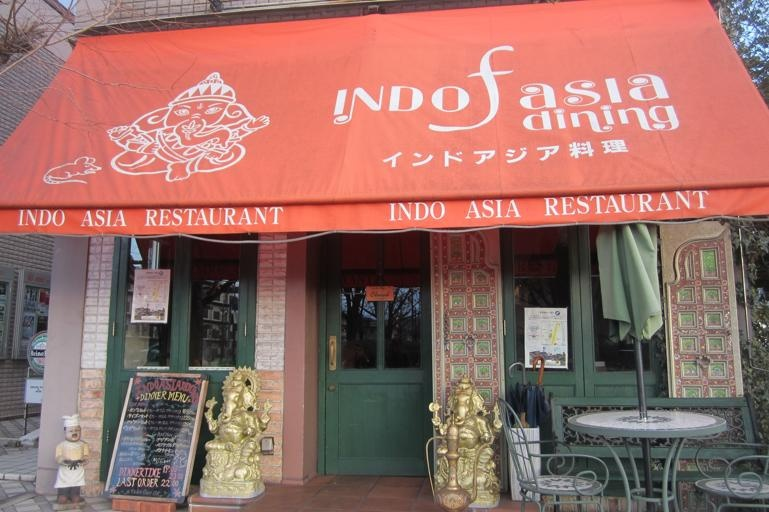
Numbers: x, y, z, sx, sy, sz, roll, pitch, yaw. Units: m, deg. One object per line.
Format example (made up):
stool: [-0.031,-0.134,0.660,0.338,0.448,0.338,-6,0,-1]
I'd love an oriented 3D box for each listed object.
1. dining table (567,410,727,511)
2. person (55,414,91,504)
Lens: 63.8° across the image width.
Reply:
dining table: [2.999,2.219,7.543,1.685,1.195,1.590,-1,-10,-3]
person: [-4.467,2.932,8.897,0.384,1.255,0.499,-3,-15,10]
